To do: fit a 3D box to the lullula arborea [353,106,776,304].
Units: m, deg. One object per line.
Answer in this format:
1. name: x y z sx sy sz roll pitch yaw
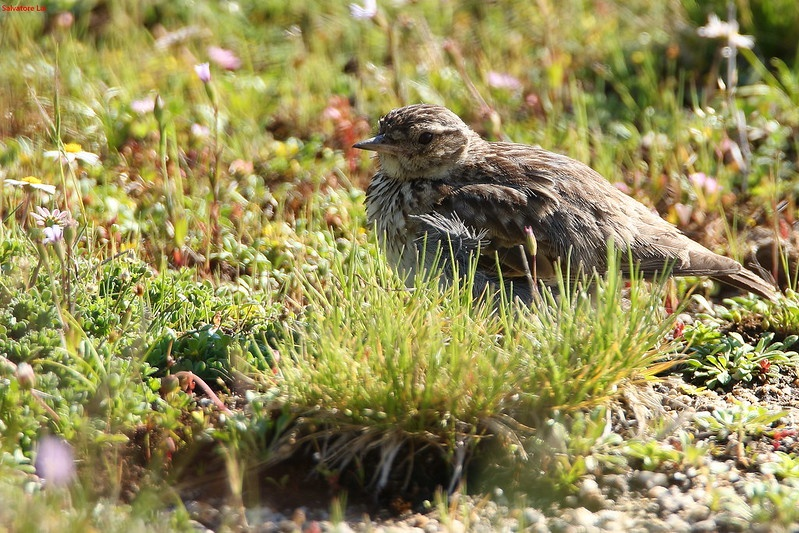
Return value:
1. lullula arborea: 0.875 -0.413 5.620 2.453 0.976 1.115 5 30 -6
